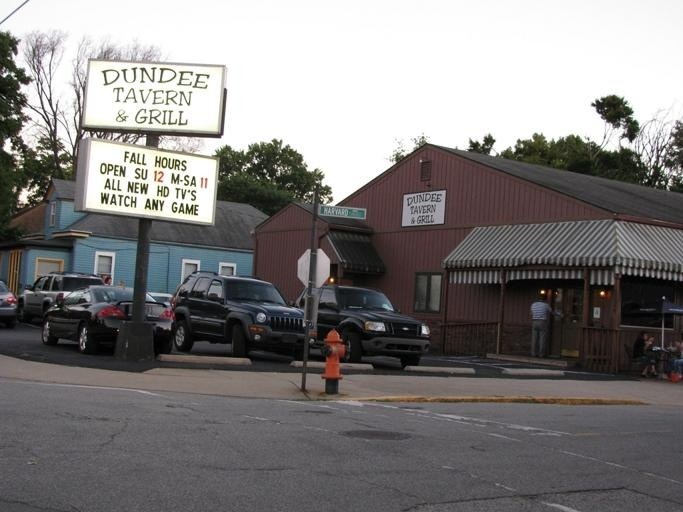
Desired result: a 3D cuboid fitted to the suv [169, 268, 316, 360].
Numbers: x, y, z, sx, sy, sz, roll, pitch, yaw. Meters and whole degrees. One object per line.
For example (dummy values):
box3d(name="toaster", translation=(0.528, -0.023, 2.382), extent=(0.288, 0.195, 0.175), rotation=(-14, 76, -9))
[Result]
box3d(name="suv", translation=(-3.084, 1.810, 19.363), extent=(4.539, 2.509, 1.543), rotation=(-1, -7, 43))

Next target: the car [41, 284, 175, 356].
box3d(name="car", translation=(-6.525, 1.820, 18.410), extent=(4.693, 1.905, 1.888), rotation=(-1, -7, 42))
